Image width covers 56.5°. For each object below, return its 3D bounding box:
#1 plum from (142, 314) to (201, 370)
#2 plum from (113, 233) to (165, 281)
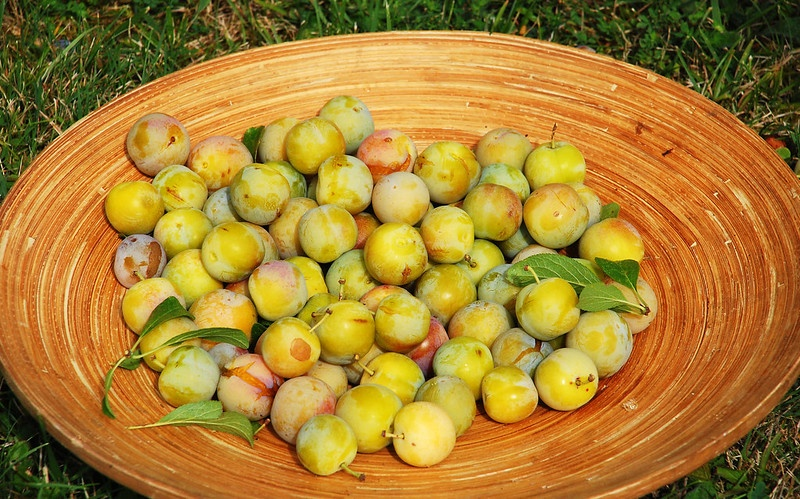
[{"bbox_3d":[-1.164,0.450,3.811,0.269,0.214,0.229,-9,99,-9],"label":"plum"},{"bbox_3d":[-1.413,0.058,3.923,0.208,0.138,0.269,-6,77,-4],"label":"plum"}]
